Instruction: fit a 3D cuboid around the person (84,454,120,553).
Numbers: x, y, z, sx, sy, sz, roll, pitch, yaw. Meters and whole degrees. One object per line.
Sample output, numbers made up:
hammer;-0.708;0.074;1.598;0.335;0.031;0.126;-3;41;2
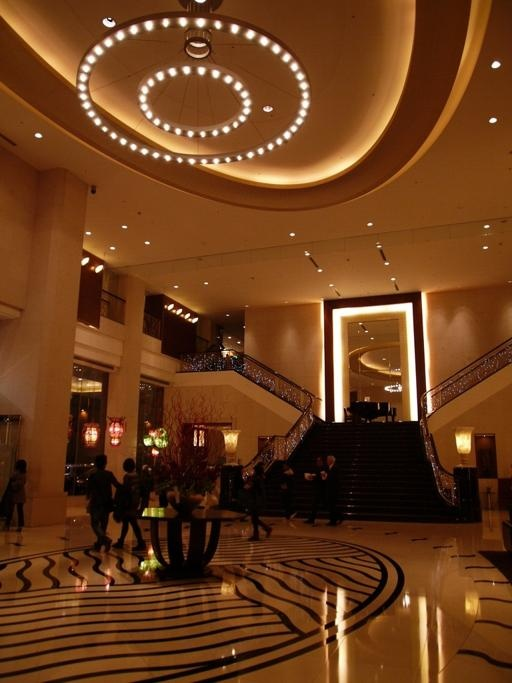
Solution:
person;-2.116;2.160;6.824;0.390;1.267;1.158;6;-11;-17

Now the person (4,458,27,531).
person;-4.278;2.696;8.967;0.379;1.226;1.027;7;-12;-22

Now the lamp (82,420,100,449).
lamp;-4.927;2.736;15.093;0.431;0.683;1.273;6;-11;-16

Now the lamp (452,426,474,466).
lamp;5.272;2.615;12.728;0.401;0.941;1.128;-2;-12;22

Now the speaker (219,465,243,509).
speaker;-0.544;3.245;11.279;0.420;0.936;1.235;5;-11;-12

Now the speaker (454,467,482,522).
speaker;4.578;3.273;10.913;0.515;1.130;0.376;0;-11;15

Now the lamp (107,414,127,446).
lamp;-4.211;2.653;15.071;0.505;0.867;0.912;6;-11;-17
